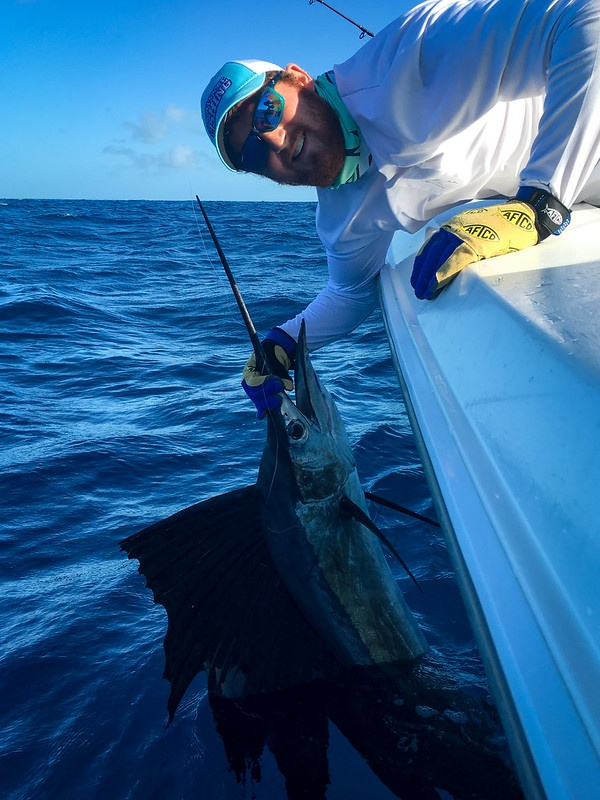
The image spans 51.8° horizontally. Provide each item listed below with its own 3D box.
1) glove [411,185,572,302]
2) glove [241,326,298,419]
[{"bbox_3d":[0.471,-0.416,1.633,0.397,0.216,0.157,-27,47,10],"label":"glove"},{"bbox_3d":[-0.095,-0.115,2.196,0.125,0.157,0.413,29,22,-15],"label":"glove"}]
